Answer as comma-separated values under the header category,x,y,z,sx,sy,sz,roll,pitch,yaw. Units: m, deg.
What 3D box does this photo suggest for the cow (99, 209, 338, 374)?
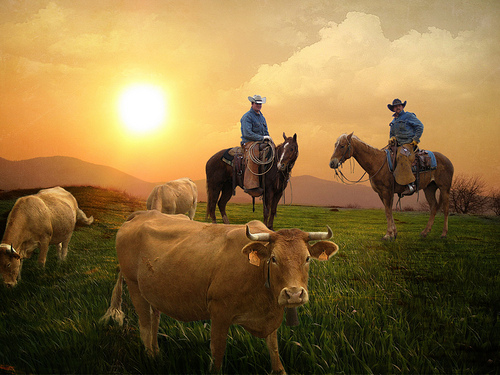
category,x,y,z,sx,sy,sz,roll,pitch,yaw
cow,-0.510,1.437,5.828,2.952,2.092,0.701,2,-4,28

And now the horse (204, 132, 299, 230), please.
category,x,y,z,sx,sy,sz,roll,pitch,yaw
horse,0.017,-0.100,11.162,3.150,2.468,1.102,2,5,36

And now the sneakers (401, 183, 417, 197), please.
category,x,y,z,sx,sy,sz,roll,pitch,yaw
sneakers,3.973,0.055,10.623,0.261,0.220,0.364,10,-27,-23

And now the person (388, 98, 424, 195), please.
category,x,y,z,sx,sy,sz,roll,pitch,yaw
person,3.904,-1.044,10.641,0.778,2.413,0.649,2,-4,18

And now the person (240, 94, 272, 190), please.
category,x,y,z,sx,sy,sz,roll,pitch,yaw
person,0.119,-1.148,10.812,0.755,2.474,0.656,3,-4,-2

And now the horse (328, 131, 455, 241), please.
category,x,y,z,sx,sy,sz,roll,pitch,yaw
horse,3.727,0.000,10.873,3.281,2.733,0.892,1,3,1

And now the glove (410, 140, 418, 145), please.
category,x,y,z,sx,sy,sz,roll,pitch,yaw
glove,4.081,-1.100,10.492,0.082,0.119,0.110,38,7,5
